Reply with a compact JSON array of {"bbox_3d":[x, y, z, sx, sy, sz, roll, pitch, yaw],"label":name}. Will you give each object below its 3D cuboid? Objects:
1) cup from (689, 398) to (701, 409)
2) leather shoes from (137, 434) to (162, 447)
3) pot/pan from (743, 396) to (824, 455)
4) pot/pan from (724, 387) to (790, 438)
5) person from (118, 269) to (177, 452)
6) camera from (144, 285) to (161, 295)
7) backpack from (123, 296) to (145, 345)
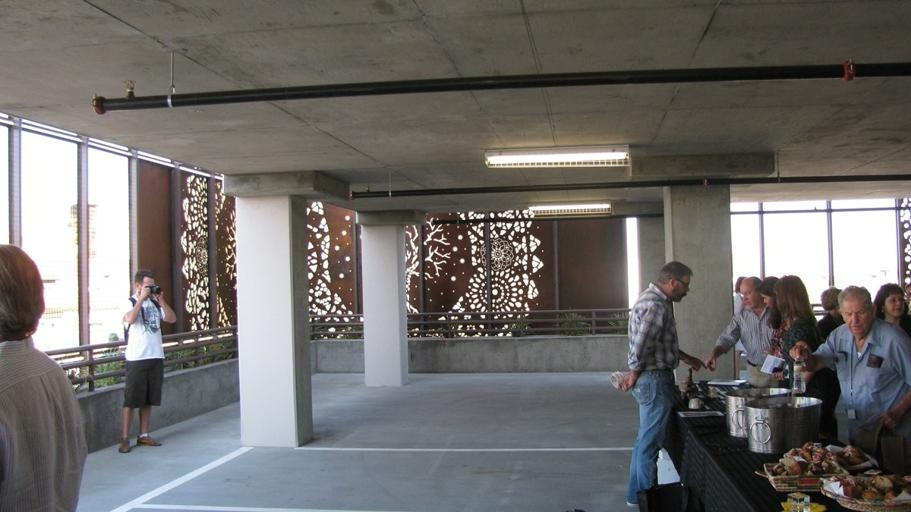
[{"bbox_3d":[2.542,1.562,7.693,0.110,0.063,0.107,1,-5,0],"label":"cup"},{"bbox_3d":[-4.458,2.668,10.533,0.483,0.177,0.158,2,-4,-2],"label":"leather shoes"},{"bbox_3d":[3.004,1.520,6.598,0.652,0.347,0.503,4,-7,-33],"label":"pot/pan"},{"bbox_3d":[2.808,1.469,6.922,0.532,0.291,0.501,-1,-5,5],"label":"pot/pan"},{"bbox_3d":[-4.491,1.477,10.423,0.804,2.525,0.556,-4,5,-21],"label":"person"},{"bbox_3d":[-4.322,0.492,10.325,0.130,0.155,0.132,6,-5,35],"label":"camera"},{"bbox_3d":[-4.637,0.920,10.336,0.408,0.678,0.216,3,7,45],"label":"backpack"}]
